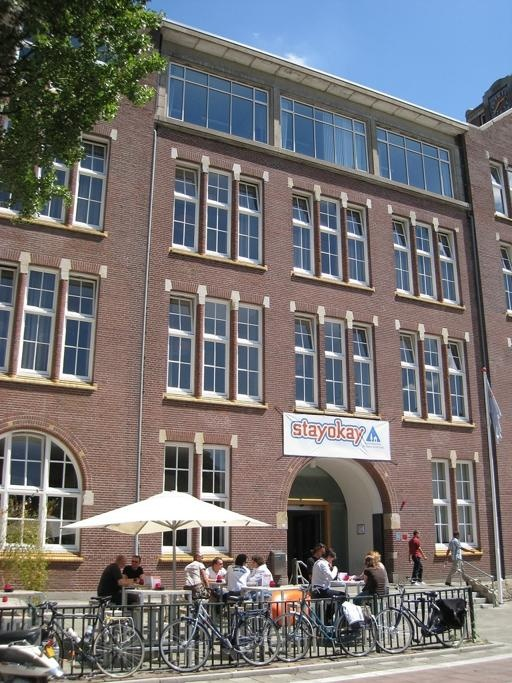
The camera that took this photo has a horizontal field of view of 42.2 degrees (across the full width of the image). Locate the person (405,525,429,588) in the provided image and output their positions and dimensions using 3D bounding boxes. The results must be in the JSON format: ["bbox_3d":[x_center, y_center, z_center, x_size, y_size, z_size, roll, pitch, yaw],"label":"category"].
[{"bbox_3d":[4.942,6.618,20.539,0.416,1.585,1.028,-6,-21,13],"label":"person"}]

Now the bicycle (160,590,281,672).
[{"bbox_3d":[-0.460,4.061,9.234,1.927,1.046,0.796,12,-42,-29],"label":"bicycle"}]

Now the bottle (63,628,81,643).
[{"bbox_3d":[-2.401,3.855,8.732,0.135,0.226,0.063,-25,-39,-49],"label":"bottle"}]

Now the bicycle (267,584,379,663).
[{"bbox_3d":[1.002,4.520,10.554,2.038,1.168,0.880,14,-39,-13],"label":"bicycle"}]

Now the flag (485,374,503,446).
[{"bbox_3d":[8.309,2.258,23.193,0.337,2.352,1.895,-9,-21,20],"label":"flag"}]

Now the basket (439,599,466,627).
[{"bbox_3d":[3.329,4.603,11.284,0.432,0.407,0.290,9,-28,-40],"label":"basket"}]
